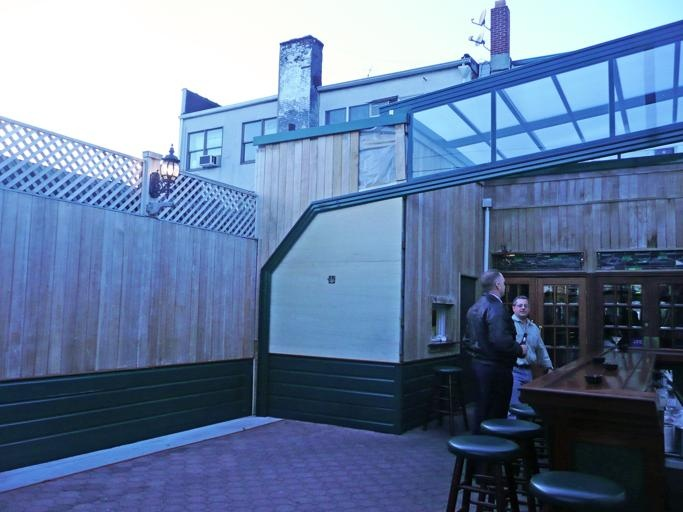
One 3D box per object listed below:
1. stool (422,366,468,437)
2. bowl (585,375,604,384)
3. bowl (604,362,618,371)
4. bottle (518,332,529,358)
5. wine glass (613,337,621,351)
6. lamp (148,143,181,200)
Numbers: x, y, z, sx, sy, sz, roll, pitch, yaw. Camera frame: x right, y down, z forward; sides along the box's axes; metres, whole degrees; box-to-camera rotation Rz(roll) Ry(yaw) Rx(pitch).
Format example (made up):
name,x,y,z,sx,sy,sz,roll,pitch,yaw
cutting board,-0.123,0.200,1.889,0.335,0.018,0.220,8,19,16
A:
name,x,y,z,sx,sy,sz,roll,pitch,yaw
stool,1.574,2.020,8.451,0.599,0.946,1.507,2,2,13
bowl,2.041,0.997,4.678,0.122,0.065,0.097,2,2,16
bowl,2.518,1.032,5.402,0.098,0.064,0.095,1,2,0
bottle,2.022,0.999,6.447,0.096,0.267,0.196,11,1,3
wine glass,3.593,1.122,7.548,0.087,0.165,0.465,2,2,25
lamp,-2.196,-1.071,7.364,0.358,0.702,0.251,2,2,18
